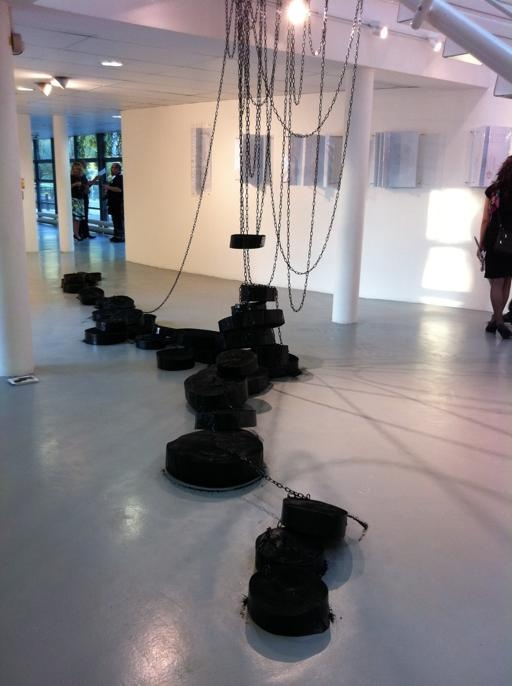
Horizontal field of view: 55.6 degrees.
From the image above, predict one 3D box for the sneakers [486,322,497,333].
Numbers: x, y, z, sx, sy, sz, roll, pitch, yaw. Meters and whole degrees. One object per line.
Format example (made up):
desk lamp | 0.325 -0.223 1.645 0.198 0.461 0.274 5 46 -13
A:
sneakers | 2.920 -0.185 5.981 0.068 0.072 0.192 -2 11 -3
